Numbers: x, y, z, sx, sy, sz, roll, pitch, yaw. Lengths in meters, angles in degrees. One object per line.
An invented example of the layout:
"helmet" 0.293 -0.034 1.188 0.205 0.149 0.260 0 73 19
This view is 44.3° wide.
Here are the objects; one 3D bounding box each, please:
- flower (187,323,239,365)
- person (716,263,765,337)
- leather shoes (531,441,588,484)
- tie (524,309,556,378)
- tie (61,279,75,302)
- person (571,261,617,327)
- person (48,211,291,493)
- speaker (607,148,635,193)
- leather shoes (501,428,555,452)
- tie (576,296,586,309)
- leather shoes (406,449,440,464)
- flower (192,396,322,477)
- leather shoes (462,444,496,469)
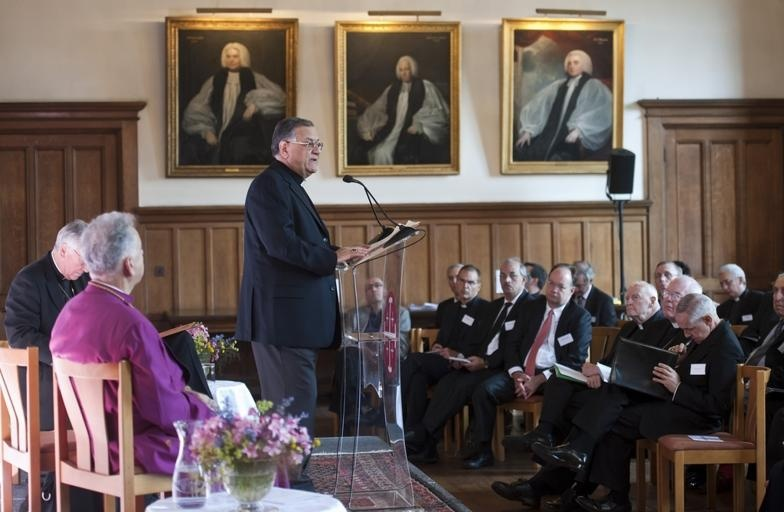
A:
"flower" -1.684 0.830 8.950 0.346 0.270 0.383 22 -2 9
"person" 3.986 0.530 10.941 0.303 0.914 0.477 15 -22 -25
"leather shoes" 1.472 1.782 8.378 0.593 0.294 0.227 19 -2 2
"tie" 1.458 0.925 9.756 0.178 0.911 0.086 19 39 13
"tie" -2.750 0.298 8.190 0.133 0.199 0.068 9 -8 6
"person" 2.349 0.478 11.180 0.353 1.081 0.528 10 -14 -37
"person" -1.880 0.799 7.412 1.069 2.322 1.269 9 13 40
"speaker" 3.002 -1.133 12.529 0.351 0.594 0.387 -2 34 2
"leather shoes" 1.230 1.687 8.698 0.490 0.232 0.187 1 -9 7
"tie" 2.136 0.539 10.809 0.077 0.112 0.029 -9 -17 35
"leather shoes" 0.324 2.063 9.768 0.334 0.260 0.118 5 -8 -9
"flower" -0.952 1.170 6.412 0.548 0.400 0.541 2 -2 -10
"leather shoes" 0.874 2.041 9.556 0.355 0.184 0.151 1 -4 -25
